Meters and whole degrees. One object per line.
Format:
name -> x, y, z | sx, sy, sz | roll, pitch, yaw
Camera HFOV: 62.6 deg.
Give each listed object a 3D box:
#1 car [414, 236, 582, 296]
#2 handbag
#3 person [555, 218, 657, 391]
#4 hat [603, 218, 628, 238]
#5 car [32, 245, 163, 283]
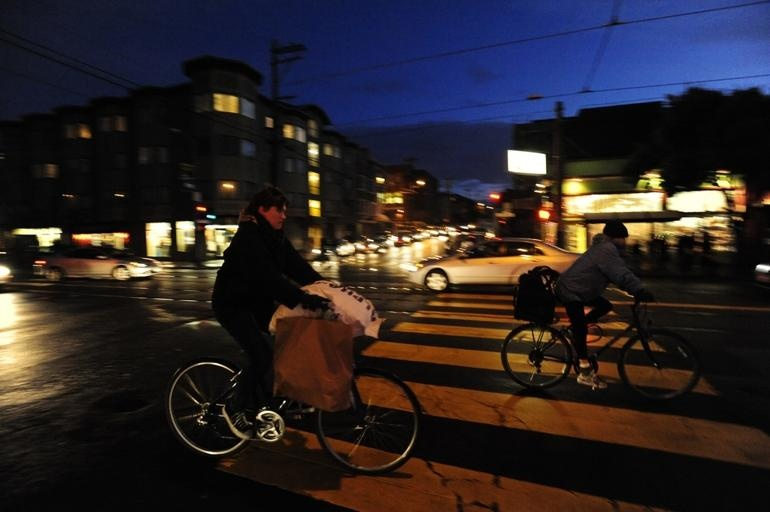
car -> 3.242, 0.288, 18.371 | 4.327, 1.127, 1.708 | 0, -1, 11
handbag -> -0.974, 1.497, 8.930 | 1.325, 1.116, 0.574 | 6, 22, 13
person -> 3.515, 0.802, 10.497 | 1.332, 2.759, 0.542 | 0, 4, 12
hat -> 3.912, -0.449, 10.607 | 0.285, 0.235, 0.392 | 7, 7, 43
car -> -10.434, 0.306, 22.787 | 3.598, 1.024, 1.580 | -1, 1, 0
